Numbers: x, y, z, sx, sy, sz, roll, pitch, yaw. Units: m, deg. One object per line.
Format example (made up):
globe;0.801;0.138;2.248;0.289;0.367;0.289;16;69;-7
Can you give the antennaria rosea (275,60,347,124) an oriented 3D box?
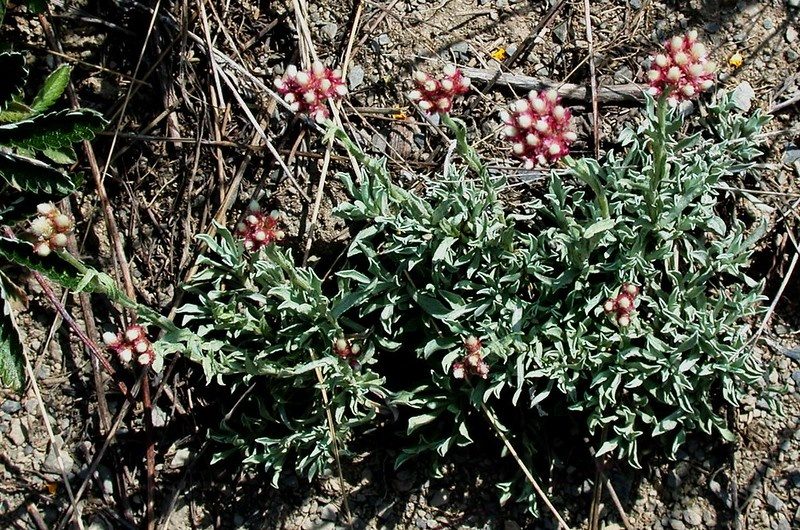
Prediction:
antennaria rosea;-0.394;-0.762;3.406;0.279;0.298;0.146;35;-12;3

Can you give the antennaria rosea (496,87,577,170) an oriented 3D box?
antennaria rosea;0.571;-0.578;3.276;0.319;0.359;0.205;13;-14;-4

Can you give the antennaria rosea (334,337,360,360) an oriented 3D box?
antennaria rosea;-0.253;0.396;3.597;0.079;0.097;0.157;1;-19;36

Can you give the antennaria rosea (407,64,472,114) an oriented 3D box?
antennaria rosea;0.148;-0.786;3.337;0.212;0.270;0.164;43;-33;32

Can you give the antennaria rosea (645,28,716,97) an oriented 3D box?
antennaria rosea;1.183;-0.839;3.258;0.279;0.301;0.189;18;-16;-23

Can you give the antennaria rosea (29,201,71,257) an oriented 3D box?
antennaria rosea;-1.589;-0.165;3.456;0.154;0.266;0.313;18;-16;-26

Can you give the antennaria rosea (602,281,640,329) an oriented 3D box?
antennaria rosea;1.019;0.190;3.568;0.135;0.229;0.096;35;-51;2
